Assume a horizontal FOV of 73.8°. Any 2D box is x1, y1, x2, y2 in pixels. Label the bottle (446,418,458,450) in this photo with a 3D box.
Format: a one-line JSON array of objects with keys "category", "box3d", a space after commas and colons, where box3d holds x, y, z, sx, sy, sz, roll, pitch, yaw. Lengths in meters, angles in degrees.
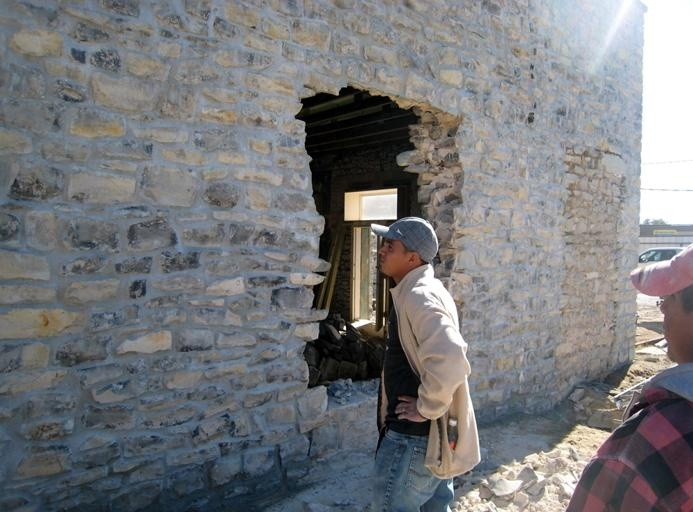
[{"category": "bottle", "box3d": [0.598, 1.003, 2.613, 0.082, 0.168, 0.053, 3, 8, -31]}]
